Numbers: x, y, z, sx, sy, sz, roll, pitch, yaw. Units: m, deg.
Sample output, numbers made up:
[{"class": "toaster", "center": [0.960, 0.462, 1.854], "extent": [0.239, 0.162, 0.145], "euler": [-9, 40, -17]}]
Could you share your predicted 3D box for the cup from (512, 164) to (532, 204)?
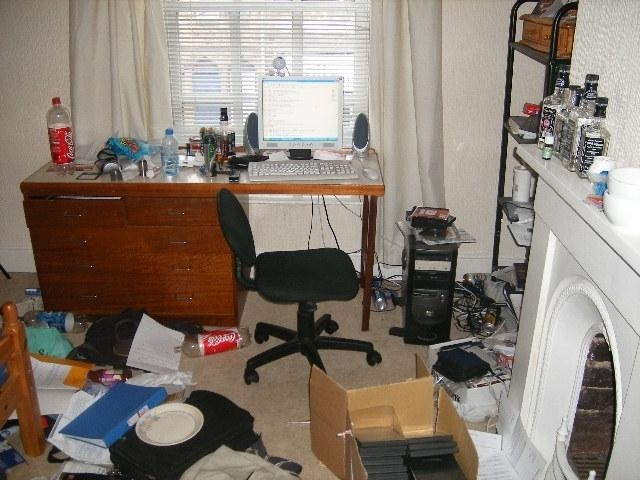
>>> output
[{"class": "cup", "center": [1.214, -0.334, 3.209], "extent": [0.097, 0.205, 0.168], "euler": [5, 19, 22]}]

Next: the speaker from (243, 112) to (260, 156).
[{"class": "speaker", "center": [-0.428, -0.649, 3.315], "extent": [0.070, 0.217, 0.153], "euler": [6, 4, 14]}]

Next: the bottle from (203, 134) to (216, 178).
[{"class": "bottle", "center": [-0.641, -0.489, 3.095], "extent": [0.080, 0.232, 0.068], "euler": [4, 11, 8]}]

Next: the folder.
[{"class": "folder", "center": [-0.958, 0.801, 2.484], "extent": [0.244, 0.052, 0.252], "euler": [5, 22, 28]}]

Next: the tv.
[{"class": "tv", "center": [-0.124, -0.761, 3.235], "extent": [0.531, 0.400, 0.069], "euler": [0, 23, -1]}]

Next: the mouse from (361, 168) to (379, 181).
[{"class": "mouse", "center": [0.289, -0.377, 3.076], "extent": [0.082, 0.050, 0.152], "euler": [-11, 20, -25]}]

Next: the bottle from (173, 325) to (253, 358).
[{"class": "bottle", "center": [-0.597, 0.589, 3.088], "extent": [0.341, 0.155, 0.116], "euler": [-6, -20, -16]}]

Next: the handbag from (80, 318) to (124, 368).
[{"class": "handbag", "center": [-1.262, 0.595, 3.065], "extent": [0.206, 0.274, 0.089], "euler": [5, -13, -11]}]

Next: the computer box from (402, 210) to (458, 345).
[{"class": "computer box", "center": [0.648, 0.272, 3.172], "extent": [0.309, 0.684, 0.240], "euler": [1, 18, 9]}]

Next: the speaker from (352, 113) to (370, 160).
[{"class": "speaker", "center": [0.245, -0.640, 3.323], "extent": [0.120, 0.251, 0.058], "euler": [14, 20, 28]}]

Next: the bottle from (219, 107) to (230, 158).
[{"class": "bottle", "center": [-0.601, -0.654, 3.343], "extent": [0.071, 0.301, 0.070], "euler": [-1, 8, 0]}]

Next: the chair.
[{"class": "chair", "center": [-0.103, 0.236, 2.939], "extent": [0.873, 1.037, 0.721], "euler": [-2, 20, -6]}]

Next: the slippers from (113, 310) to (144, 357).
[{"class": "slippers", "center": [-1.135, 0.545, 3.107], "extent": [0.144, 0.229, 0.237], "euler": [0, 3, -16]}]
